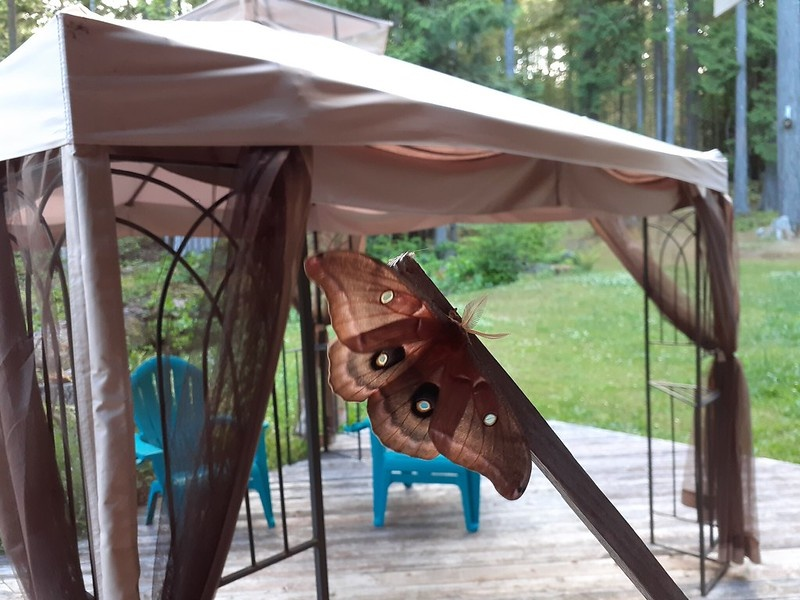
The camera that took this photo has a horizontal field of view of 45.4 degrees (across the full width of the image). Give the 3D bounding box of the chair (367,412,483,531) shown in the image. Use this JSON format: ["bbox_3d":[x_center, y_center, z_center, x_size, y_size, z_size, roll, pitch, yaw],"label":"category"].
[{"bbox_3d":[0.178,1.016,6.179,0.670,1.064,0.632,-1,1,4],"label":"chair"}]
